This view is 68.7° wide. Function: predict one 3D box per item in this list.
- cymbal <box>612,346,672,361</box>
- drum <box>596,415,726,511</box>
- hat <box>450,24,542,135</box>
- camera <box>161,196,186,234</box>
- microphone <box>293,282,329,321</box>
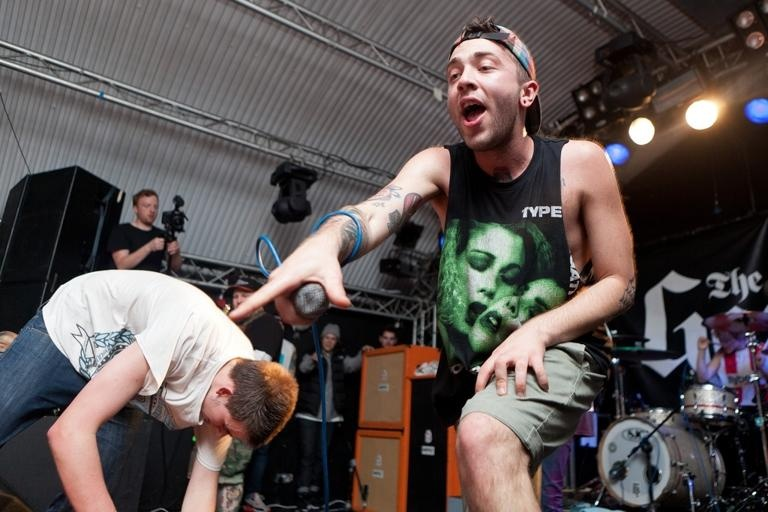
[{"bbox_3d":[3.228,1.249,7.098,0.610,0.086,0.603,7,-11,-40],"label":"cymbal"},{"bbox_3d":[3.077,2.096,6.381,1.158,1.096,1.036,3,-9,-40],"label":"drum"},{"bbox_3d":[0.642,-0.940,2.919,0.392,0.592,0.244,-1,1,12],"label":"hat"},{"bbox_3d":[-2.384,-0.491,6.547,0.187,0.334,0.316,4,8,-25],"label":"camera"},{"bbox_3d":[-0.315,0.200,2.450,0.158,0.149,0.101,6,-20,-8],"label":"microphone"}]
